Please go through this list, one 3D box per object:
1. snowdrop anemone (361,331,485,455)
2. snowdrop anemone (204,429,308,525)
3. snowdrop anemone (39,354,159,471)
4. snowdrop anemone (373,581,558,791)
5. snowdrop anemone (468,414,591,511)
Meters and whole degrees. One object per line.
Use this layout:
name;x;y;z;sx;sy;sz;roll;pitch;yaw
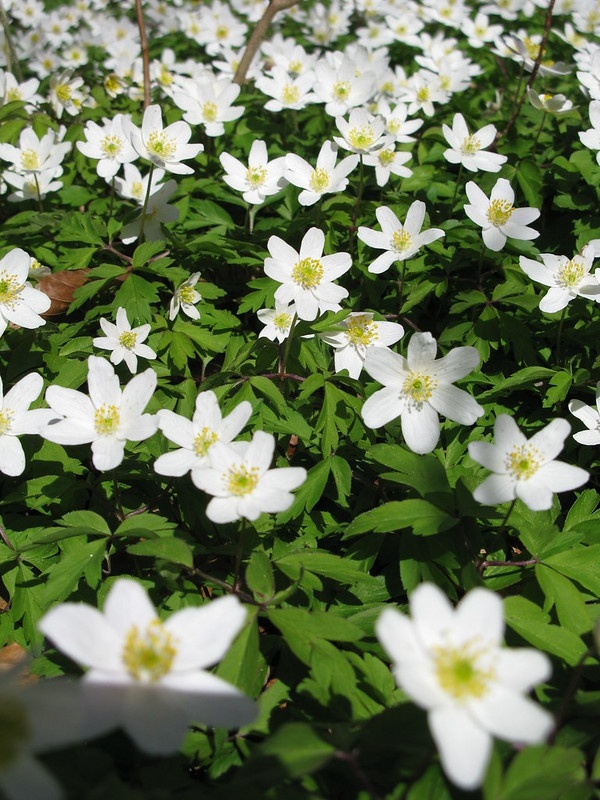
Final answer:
snowdrop anemone;0.457;-0.086;2.765;0.481;0.425;0.090;3;64;-14
snowdrop anemone;-0.135;0.247;2.242;0.295;0.100;0.300;41;77;12
snowdrop anemone;-0.672;0.083;2.598;0.434;0.161;0.413;23;90;17
snowdrop anemone;0.354;0.617;1.630;0.462;0.160;0.480;25;55;-2
snowdrop anemone;0.714;0.191;2.286;0.123;0.400;0.412;44;50;-22
